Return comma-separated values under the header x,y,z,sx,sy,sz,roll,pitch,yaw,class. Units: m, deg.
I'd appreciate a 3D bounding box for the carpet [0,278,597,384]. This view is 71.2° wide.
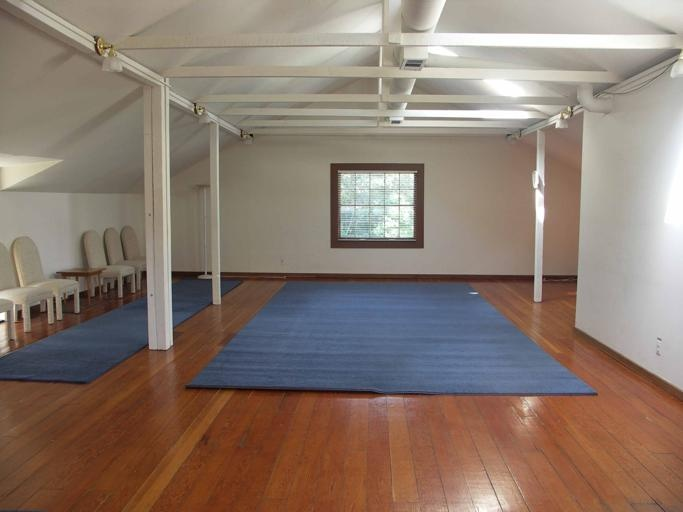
x,y,z,sx,sy,sz,roll,pitch,yaw,class
-0.520,0.880,6.758,6.071,0.249,4.725,1,11,4,carpet
